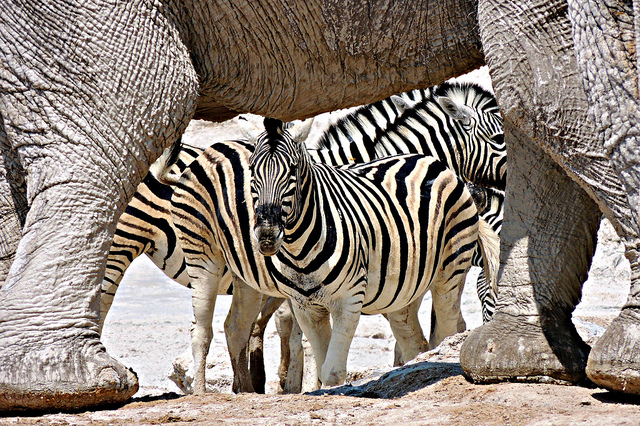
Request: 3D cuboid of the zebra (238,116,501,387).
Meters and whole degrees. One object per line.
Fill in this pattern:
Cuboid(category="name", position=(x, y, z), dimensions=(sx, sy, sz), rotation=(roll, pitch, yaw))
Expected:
Cuboid(category="zebra", position=(0.371, 0.381, 7.352), dimensions=(0.812, 2.050, 2.802), rotation=(1, 0, 42))
